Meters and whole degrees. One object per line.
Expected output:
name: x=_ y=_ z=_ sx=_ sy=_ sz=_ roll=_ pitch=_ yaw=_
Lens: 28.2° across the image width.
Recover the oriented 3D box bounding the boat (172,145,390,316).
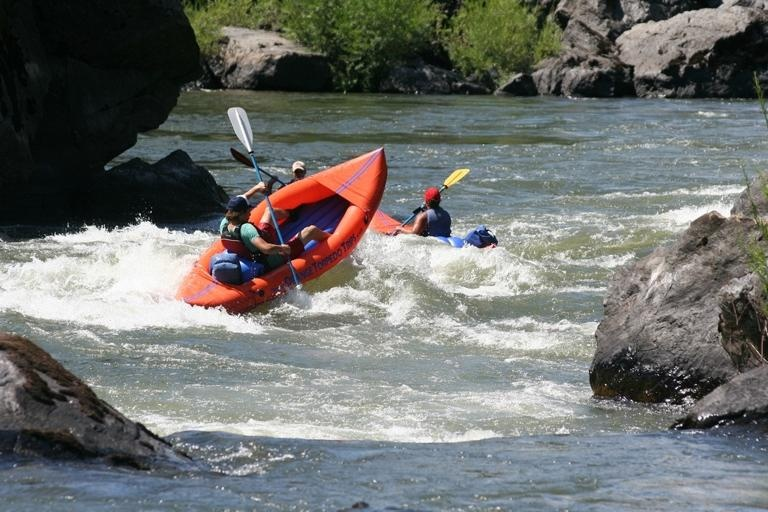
boat: x=-1.762 y=-0.129 z=30.216 sx=1.859 sy=0.700 sz=5.423 roll=36 pitch=49 yaw=24

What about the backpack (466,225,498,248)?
backpack: x=1.964 y=-0.384 z=30.690 sx=0.572 sy=0.206 sz=0.444 roll=-15 pitch=20 yaw=-41

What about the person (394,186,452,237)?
person: x=0.816 y=-0.893 z=31.190 sx=0.987 sy=0.930 sz=0.856 roll=-7 pitch=22 yaw=-14

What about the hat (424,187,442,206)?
hat: x=1.014 y=-1.271 z=31.366 sx=0.350 sy=0.237 sz=0.442 roll=4 pitch=28 yaw=2

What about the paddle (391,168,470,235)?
paddle: x=1.029 y=-1.148 z=33.535 sx=2.650 sy=0.282 sz=0.108 roll=-34 pitch=45 yaw=5

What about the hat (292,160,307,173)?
hat: x=-1.774 y=-1.845 z=31.803 sx=0.280 sy=0.401 sz=0.215 roll=-3 pitch=68 yaw=-2

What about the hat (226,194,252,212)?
hat: x=-2.806 y=-1.032 z=29.400 sx=0.418 sy=0.275 sz=0.405 roll=-3 pitch=21 yaw=-3
